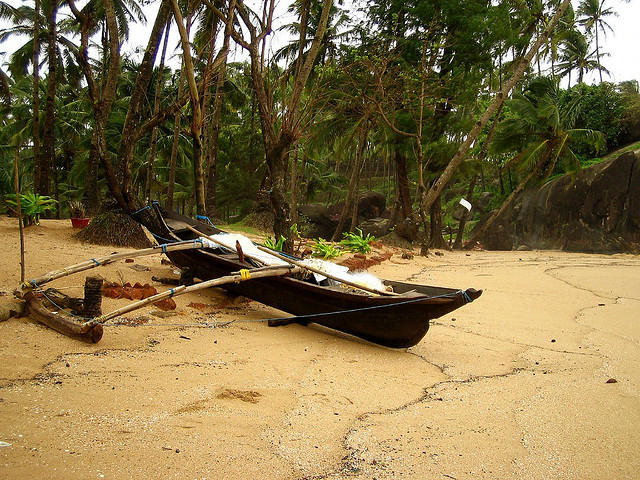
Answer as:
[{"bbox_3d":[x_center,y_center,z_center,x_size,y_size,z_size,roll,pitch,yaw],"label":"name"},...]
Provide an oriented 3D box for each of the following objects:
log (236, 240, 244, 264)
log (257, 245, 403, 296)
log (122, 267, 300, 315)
[{"bbox_3d":[-1.252,0.195,8.209,0.067,0.082,0.410,31,-29,22],"label":"log"},{"bbox_3d":[0.150,0.530,9.454,2.763,0.143,0.189,19,48,41],"label":"log"},{"bbox_3d":[-1.250,0.592,7.512,2.255,0.487,0.404,2,6,-41],"label":"log"}]
